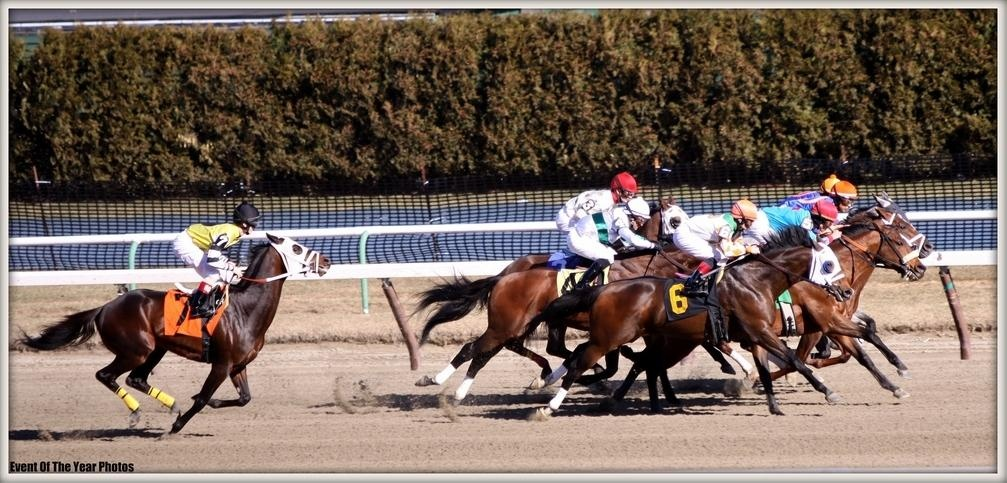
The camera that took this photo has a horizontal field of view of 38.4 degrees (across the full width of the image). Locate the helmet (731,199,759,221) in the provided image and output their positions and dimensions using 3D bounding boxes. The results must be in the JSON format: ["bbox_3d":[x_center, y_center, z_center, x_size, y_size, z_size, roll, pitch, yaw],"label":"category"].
[{"bbox_3d":[5.178,-0.710,31.671,0.586,0.403,0.397,-9,21,0],"label":"helmet"}]

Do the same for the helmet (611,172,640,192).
[{"bbox_3d":[2.667,-1.341,32.495,0.638,0.339,0.413,9,15,10],"label":"helmet"}]
